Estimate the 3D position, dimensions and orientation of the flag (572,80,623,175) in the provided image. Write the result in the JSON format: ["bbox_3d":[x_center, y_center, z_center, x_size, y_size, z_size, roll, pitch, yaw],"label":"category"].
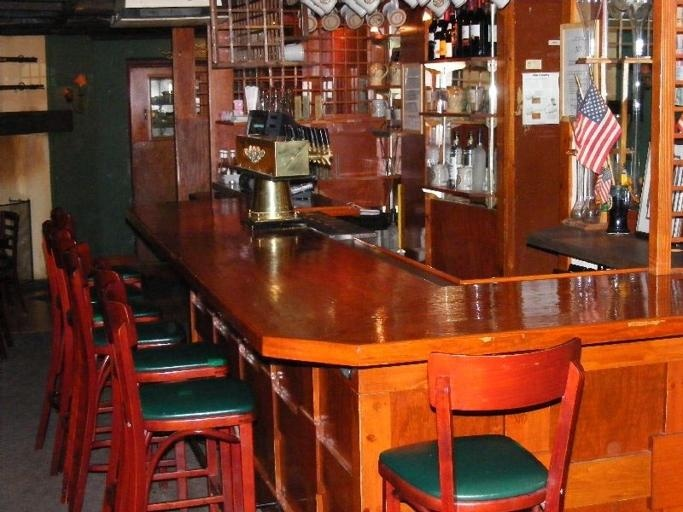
[{"bbox_3d":[1.384,-0.694,3.402,0.236,0.470,0.237,3,12,25],"label":"flag"}]

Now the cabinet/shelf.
[{"bbox_3d":[1.041,-1.148,5.493,0.393,1.239,1.306,-3,7,-20],"label":"cabinet/shelf"}]

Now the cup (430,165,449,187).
[{"bbox_3d":[0.923,-0.755,5.847,0.186,0.214,0.187,-1,12,0],"label":"cup"}]

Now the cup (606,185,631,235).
[{"bbox_3d":[1.519,-0.257,3.425,0.107,0.258,0.184,3,12,24],"label":"cup"}]

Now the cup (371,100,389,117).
[{"bbox_3d":[0.465,-1.824,7.752,0.206,0.206,0.210,0,13,0],"label":"cup"}]

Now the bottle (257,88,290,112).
[{"bbox_3d":[-0.582,-1.412,5.711,0.268,0.213,0.368,-2,11,-4],"label":"bottle"}]

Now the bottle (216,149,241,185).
[{"bbox_3d":[-1.043,-0.825,5.859,0.239,0.287,0.412,-4,14,-20],"label":"bottle"}]
